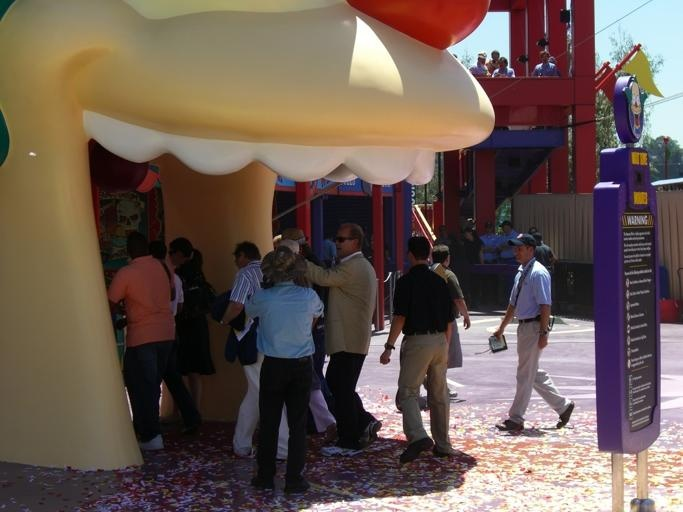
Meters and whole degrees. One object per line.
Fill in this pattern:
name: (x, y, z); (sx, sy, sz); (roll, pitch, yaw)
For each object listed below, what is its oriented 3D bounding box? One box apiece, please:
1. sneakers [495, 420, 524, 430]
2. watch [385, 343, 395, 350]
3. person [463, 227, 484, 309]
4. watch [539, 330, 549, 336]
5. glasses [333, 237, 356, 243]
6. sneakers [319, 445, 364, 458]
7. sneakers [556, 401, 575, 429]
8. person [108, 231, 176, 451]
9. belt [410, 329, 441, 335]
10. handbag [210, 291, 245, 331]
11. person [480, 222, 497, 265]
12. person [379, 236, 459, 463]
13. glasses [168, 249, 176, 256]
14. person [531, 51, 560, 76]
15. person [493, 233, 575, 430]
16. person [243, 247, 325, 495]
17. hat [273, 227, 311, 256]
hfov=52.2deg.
sneakers: (1.795, 1.793, 7.444); (0.280, 0.137, 0.114); (4, 1, 8)
watch: (0.456, 0.837, 6.502); (0.077, 0.042, 0.058); (8, -7, -29)
person: (3.834, 0.235, 20.497); (0.707, 2.431, 0.692); (-4, -30, 15)
watch: (2.095, 0.796, 7.211); (0.063, 0.036, 0.046); (0, 3, -22)
glasses: (0.036, -0.158, 6.729); (0.168, 0.073, 0.220); (-3, -4, 26)
sneakers: (-0.028, 1.821, 6.523); (0.317, 0.140, 0.129); (-1, 1, 6)
sneakers: (2.391, 1.697, 7.449); (0.140, 0.362, 0.126); (8, 23, -7)
person: (-1.837, 0.814, 6.483); (0.559, 2.059, 0.328); (-2, 5, -16)
belt: (0.763, 0.687, 6.295); (0.223, 0.049, 0.035); (-2, 5, -5)
handbag: (-1.041, 0.505, 6.623); (0.339, 0.360, 0.149); (24, 11, 19)
person: (4.342, -0.372, 20.700); (0.444, 1.036, 0.646); (0, 5, 10)
person: (0.759, 0.857, 6.397); (0.624, 2.057, 0.593); (-3, 5, -20)
glasses: (-1.784, -0.039, 7.361); (0.052, 0.081, 0.023); (-8, -1, 12)
person: (6.428, -6.054, 21.970); (0.722, 0.967, 1.422); (1, 6, 16)
person: (2.053, 0.824, 7.496); (0.813, 2.104, 0.667); (1, 5, 16)
person: (-0.453, 0.903, 5.624); (0.593, 1.922, 0.341); (-2, 5, -9)
hat: (-0.460, -0.160, 7.071); (0.263, 0.177, 0.314); (4, -5, -28)
